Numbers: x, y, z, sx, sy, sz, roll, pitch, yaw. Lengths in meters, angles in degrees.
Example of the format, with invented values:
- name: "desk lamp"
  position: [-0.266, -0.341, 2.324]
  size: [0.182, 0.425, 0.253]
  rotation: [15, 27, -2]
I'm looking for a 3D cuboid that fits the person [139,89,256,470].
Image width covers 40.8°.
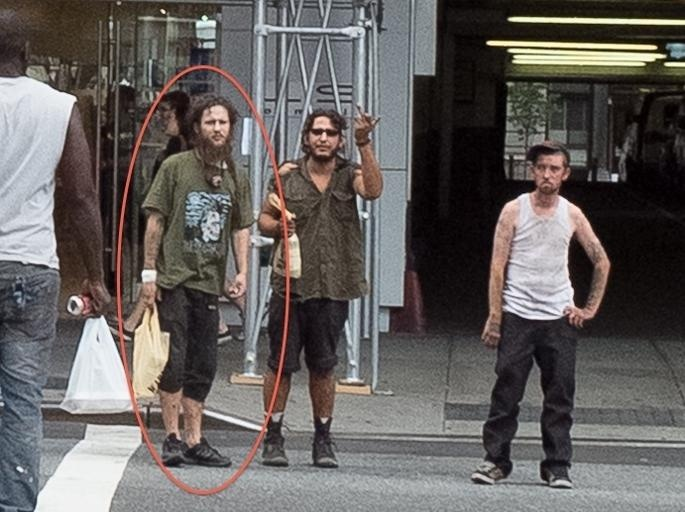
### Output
- name: "person"
  position: [-0.953, 0.203, 6.085]
  size: [0.732, 2.500, 0.484]
  rotation: [-1, 10, -14]

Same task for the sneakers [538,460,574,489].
- name: "sneakers"
  position: [1.383, 1.442, 6.024]
  size: [0.211, 0.208, 0.197]
  rotation: [6, 11, 24]

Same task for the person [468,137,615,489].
- name: "person"
  position: [1.292, 0.415, 6.058]
  size: [0.734, 2.288, 0.655]
  rotation: [4, 10, 17]

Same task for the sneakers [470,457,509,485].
- name: "sneakers"
  position: [0.969, 1.427, 6.096]
  size: [0.276, 0.144, 0.121]
  rotation: [1, 7, -21]

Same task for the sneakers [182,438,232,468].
- name: "sneakers"
  position: [-0.909, 1.330, 6.180]
  size: [0.354, 0.199, 0.138]
  rotation: [4, 2, 2]

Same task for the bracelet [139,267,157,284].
- name: "bracelet"
  position: [-1.262, 0.132, 5.965]
  size: [0.079, 0.077, 0.085]
  rotation: [1, -5, 6]

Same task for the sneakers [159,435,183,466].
- name: "sneakers"
  position: [-1.121, 1.294, 6.040]
  size: [0.096, 0.122, 0.245]
  rotation: [1, 0, -15]

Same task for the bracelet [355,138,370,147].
- name: "bracelet"
  position: [0.128, -0.759, 6.108]
  size: [0.092, 0.054, 0.157]
  rotation: [1, 11, -1]

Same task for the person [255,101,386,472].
- name: "person"
  position: [-0.174, 0.271, 6.251]
  size: [0.807, 2.512, 0.526]
  rotation: [0, 10, -7]
